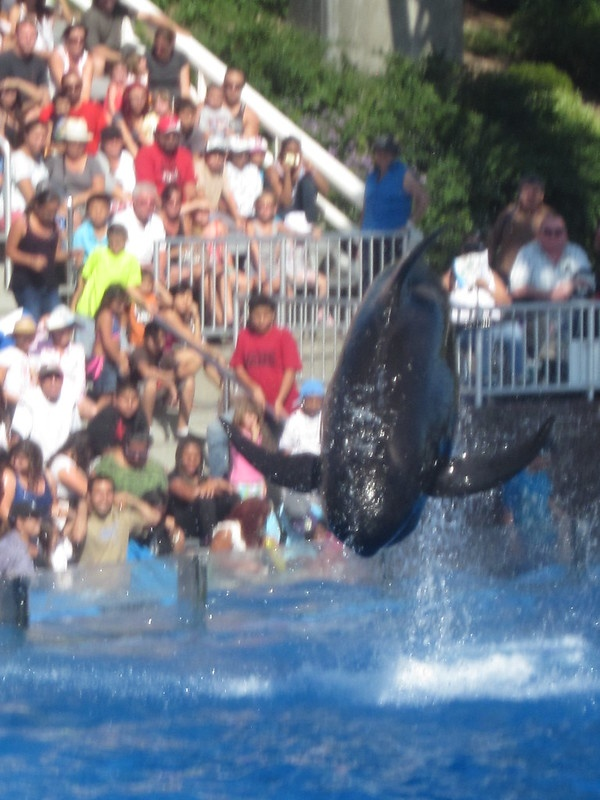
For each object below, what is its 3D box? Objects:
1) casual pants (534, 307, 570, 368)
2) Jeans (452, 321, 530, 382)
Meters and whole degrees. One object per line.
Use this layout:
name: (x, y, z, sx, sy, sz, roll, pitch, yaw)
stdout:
casual pants: (1.901, -0.467, 15.527, 0.229, 0.575, 0.022, -6, 9, -44)
Jeans: (1.433, -0.365, 15.404, 0.527, 0.043, 0.892, 2, -30, 4)
